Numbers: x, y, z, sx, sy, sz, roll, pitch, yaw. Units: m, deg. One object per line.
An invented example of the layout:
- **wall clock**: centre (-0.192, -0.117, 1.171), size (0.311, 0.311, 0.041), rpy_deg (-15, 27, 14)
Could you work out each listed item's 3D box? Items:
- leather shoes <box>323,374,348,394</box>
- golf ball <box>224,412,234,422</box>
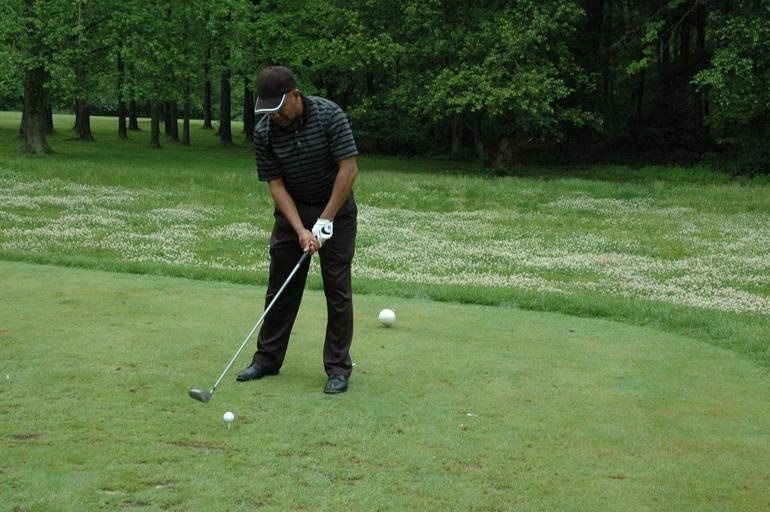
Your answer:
- **leather shoes**: centre (-0.847, 2.185, 17.120), size (0.408, 0.270, 0.272), rpy_deg (-1, 14, -6)
- **golf ball**: centre (-2.563, 2.638, 16.520), size (0.165, 0.149, 0.155), rpy_deg (0, 12, 0)
